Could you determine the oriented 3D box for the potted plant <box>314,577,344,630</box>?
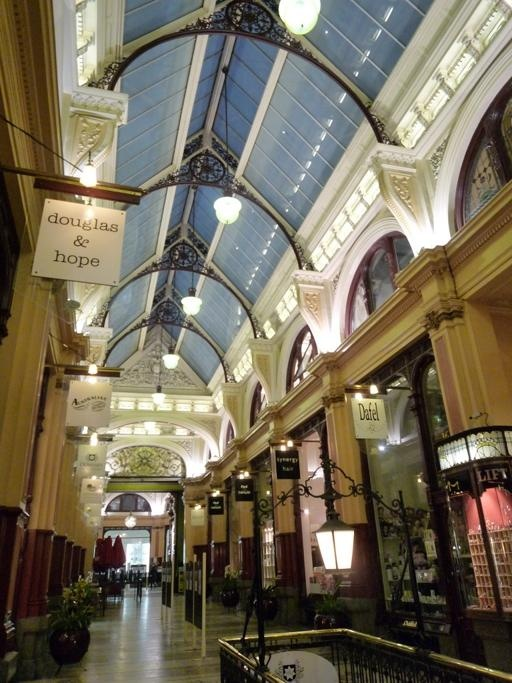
[{"bbox_3d":[1.168,4.275,7.399,0.472,0.707,1.259,-7,-25,6],"label":"potted plant"}]

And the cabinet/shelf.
[{"bbox_3d":[2.204,3.300,6.244,0.592,1.198,2.012,-3,-25,-3],"label":"cabinet/shelf"}]

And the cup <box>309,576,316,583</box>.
[{"bbox_3d":[1.315,5.478,10.426,0.091,0.163,0.165,19,-31,-30],"label":"cup"}]

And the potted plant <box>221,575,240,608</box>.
[{"bbox_3d":[-0.751,7.307,13.131,0.520,0.865,0.643,-2,-26,-4],"label":"potted plant"}]

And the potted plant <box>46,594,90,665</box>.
[{"bbox_3d":[-2.475,3.810,5.971,0.492,0.795,0.535,6,-27,-19],"label":"potted plant"}]
